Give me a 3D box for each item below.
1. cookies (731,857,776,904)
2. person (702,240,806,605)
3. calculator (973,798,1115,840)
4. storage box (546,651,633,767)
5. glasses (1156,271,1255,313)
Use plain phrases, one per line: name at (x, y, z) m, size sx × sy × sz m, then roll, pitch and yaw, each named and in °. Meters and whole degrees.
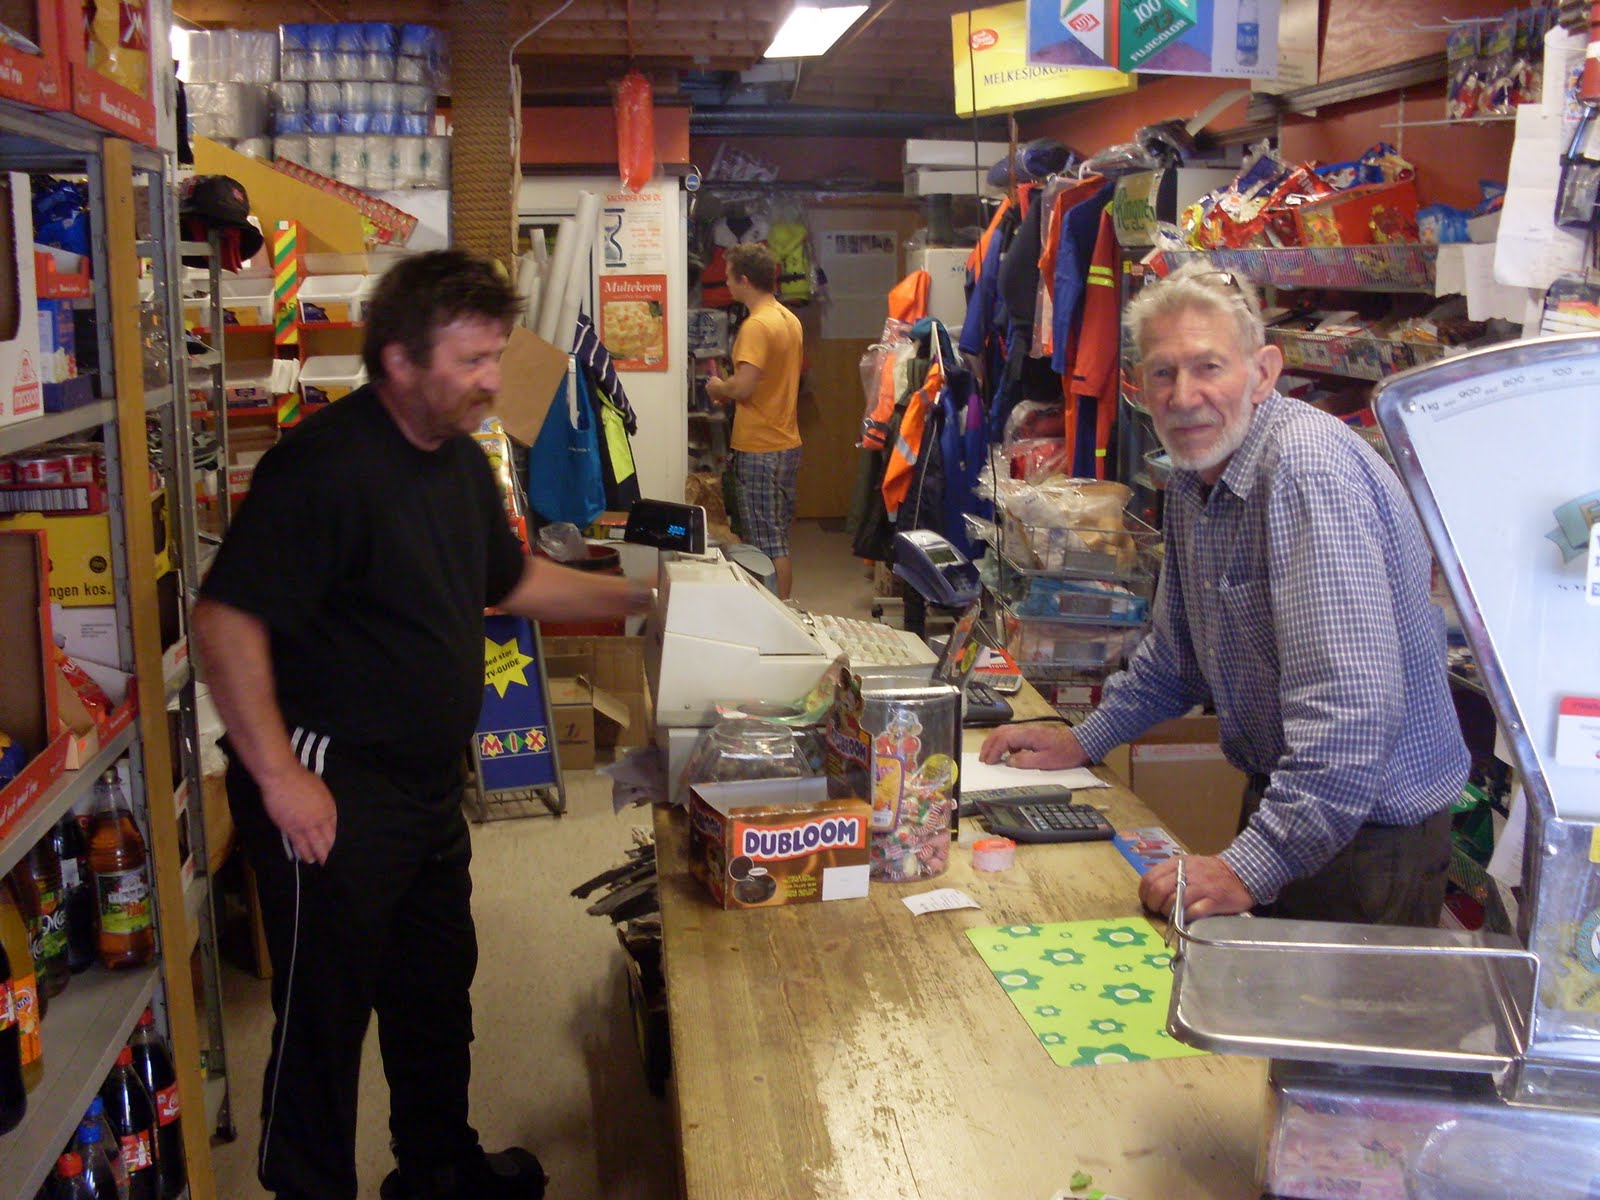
cookies at (-0.082, 0.510, 2.267) m, size 0.080 × 0.079 × 0.081 m, roll -6°, pitch 11°, yaw 6°
person at (-0.253, -1.032, 7.381) m, size 0.529 × 2.093 × 0.576 m, roll -1°, pitch 15°, yaw 0°
calculator at (0.503, 0.456, 2.520) m, size 0.147 × 0.036 × 0.104 m, roll -1°, pitch 11°, yaw -7°
storage box at (-0.958, 0.496, 5.643) m, size 0.520 × 0.370 × 0.445 m, roll 1°, pitch 13°, yaw -6°
glasses at (0.788, -0.580, 2.319) m, size 0.111 × 0.033 × 0.110 m, roll 1°, pitch 2°, yaw 9°
